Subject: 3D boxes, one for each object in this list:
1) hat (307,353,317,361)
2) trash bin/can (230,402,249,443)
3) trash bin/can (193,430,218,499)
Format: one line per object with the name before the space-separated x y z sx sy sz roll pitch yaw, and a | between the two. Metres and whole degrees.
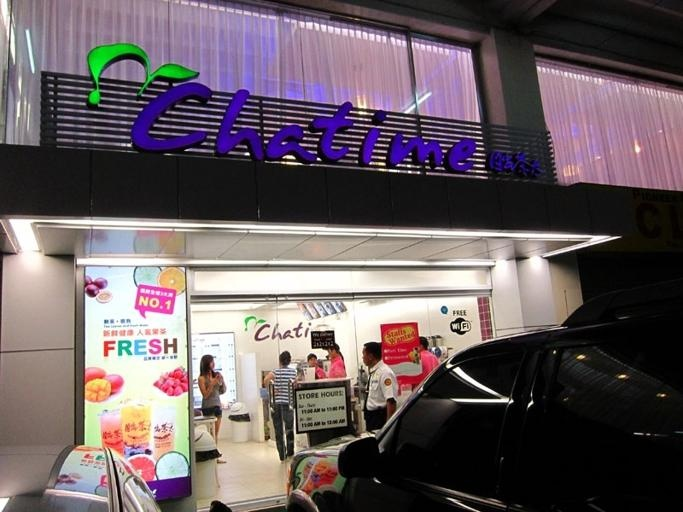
hat | -0.439 1.554 7.862 0.092 0.118 0.120 1 -4 2
trash bin/can | -1.477 2.431 7.559 0.336 0.542 0.312 -4 -9 8
trash bin/can | -1.835 2.837 7.084 0.365 0.993 0.223 1 -9 -32
